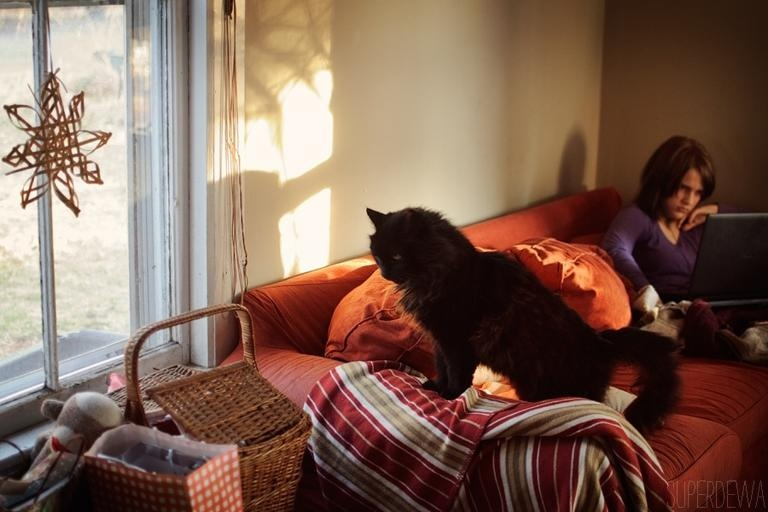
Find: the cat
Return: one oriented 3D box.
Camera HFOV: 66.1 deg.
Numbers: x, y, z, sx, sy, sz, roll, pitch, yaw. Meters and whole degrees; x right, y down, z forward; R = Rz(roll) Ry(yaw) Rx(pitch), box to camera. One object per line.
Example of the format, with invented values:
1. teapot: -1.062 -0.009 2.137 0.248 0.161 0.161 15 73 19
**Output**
1. cat: 0.295 0.119 1.811 1.048 0.588 0.348 17 9 8
